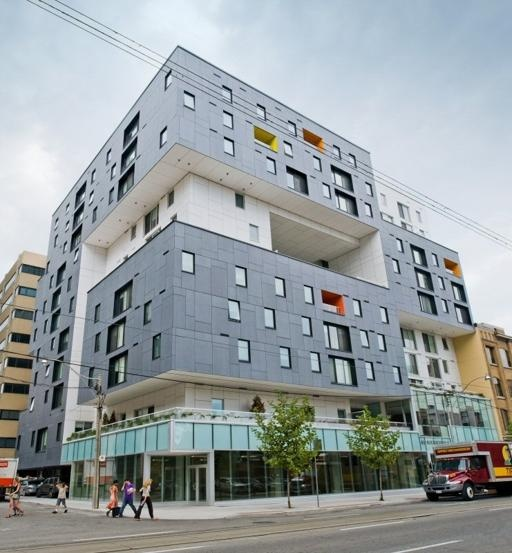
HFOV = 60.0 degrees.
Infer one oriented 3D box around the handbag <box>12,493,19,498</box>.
[{"bbox_3d":[-11.335,10.310,20.812,0.260,0.218,0.244,-6,-13,18],"label":"handbag"}]
